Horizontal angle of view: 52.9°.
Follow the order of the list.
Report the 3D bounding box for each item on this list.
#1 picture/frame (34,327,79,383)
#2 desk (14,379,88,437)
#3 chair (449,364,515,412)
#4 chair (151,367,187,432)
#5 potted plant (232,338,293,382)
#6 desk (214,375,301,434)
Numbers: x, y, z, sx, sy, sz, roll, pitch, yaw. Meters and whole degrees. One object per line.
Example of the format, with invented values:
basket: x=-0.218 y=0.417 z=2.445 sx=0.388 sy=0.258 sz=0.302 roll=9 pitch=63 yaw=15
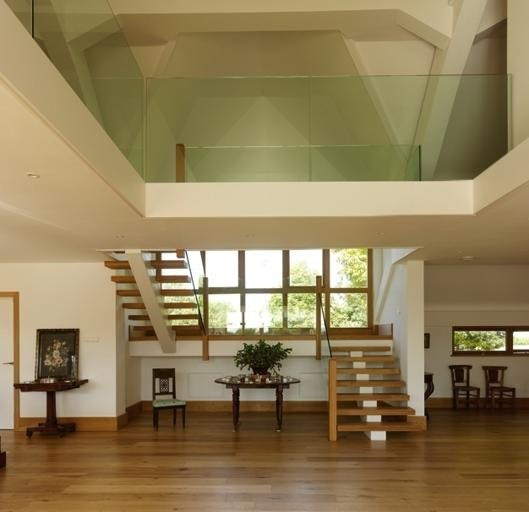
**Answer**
picture/frame: x=-3.292 y=1.611 z=8.440 sx=0.784 sy=0.963 sz=0.067 roll=0 pitch=-7 yaw=-4
desk: x=-3.299 y=2.302 z=8.401 sx=0.916 sy=0.818 sz=0.917 roll=0 pitch=-2 yaw=6
chair: x=4.140 y=2.564 z=10.242 sx=1.112 sy=0.860 sz=0.540 roll=0 pitch=-6 yaw=3
chair: x=-1.635 y=2.423 z=9.219 sx=0.555 sy=0.918 sz=1.713 roll=1 pitch=-6 yaw=-10
potted plant: x=-0.065 y=1.757 z=9.078 sx=0.900 sy=0.590 sz=0.792 roll=0 pitch=5 yaw=-18
desk: x=-0.119 y=2.390 z=8.659 sx=1.280 sy=0.750 sz=1.025 roll=0 pitch=-7 yaw=3
